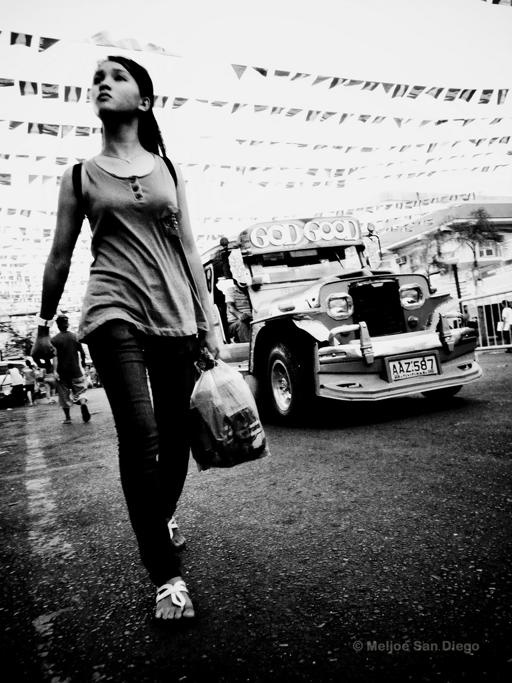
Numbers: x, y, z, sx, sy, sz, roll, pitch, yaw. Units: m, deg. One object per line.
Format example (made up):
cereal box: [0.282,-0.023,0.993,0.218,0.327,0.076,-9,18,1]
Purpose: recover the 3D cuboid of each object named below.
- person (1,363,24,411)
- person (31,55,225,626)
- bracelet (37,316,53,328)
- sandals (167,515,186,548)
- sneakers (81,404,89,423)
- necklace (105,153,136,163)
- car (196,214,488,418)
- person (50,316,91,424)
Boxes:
person: [-7.666,1.387,15.571,0.648,0.969,1.922,-5,-2,-26]
person: [-0.488,-0.107,1.745,0.544,1.577,0.530,-6,-1,12]
bracelet: [-0.758,-0.069,1.775,0.036,0.025,0.046,6,12,-37]
sandals: [-0.343,0.795,2.062,0.053,0.083,0.179,-8,-9,-15]
sneakers: [-2.647,1.080,7.674,0.132,0.167,0.533,-1,15,-18]
necklace: [-0.476,-0.645,1.738,0.113,0.037,0.014,14,-34,13]
car: [0.631,-0.387,6.029,1.958,1.890,3.632,-4,-4,-21]
person: [-2.985,0.427,8.093,0.585,1.679,0.639,3,13,18]
